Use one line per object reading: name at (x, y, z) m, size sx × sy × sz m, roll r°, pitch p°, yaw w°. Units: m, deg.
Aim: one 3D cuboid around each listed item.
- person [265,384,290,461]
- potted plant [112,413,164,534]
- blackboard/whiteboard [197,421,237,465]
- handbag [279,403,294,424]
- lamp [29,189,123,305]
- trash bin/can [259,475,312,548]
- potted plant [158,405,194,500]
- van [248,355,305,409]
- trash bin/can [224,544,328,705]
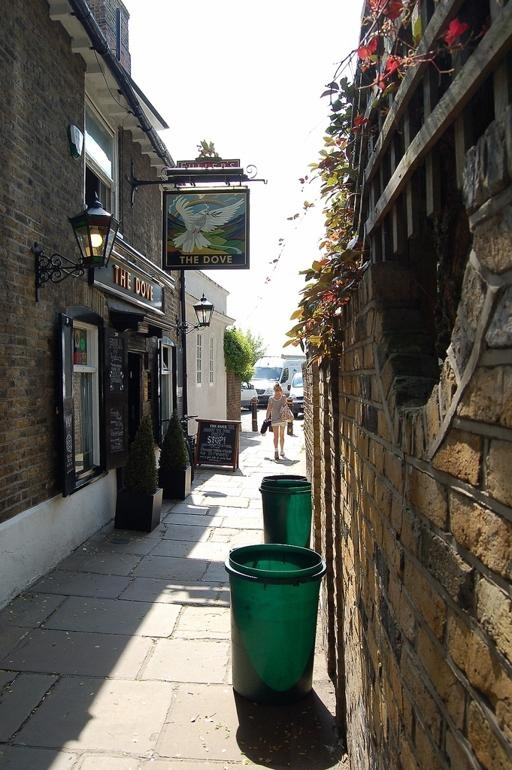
person at (0.522, 0.840, 13.809) m, size 0.572 × 1.730 × 1.664 m, roll 1°, pitch 1°, yaw 1°
potted plant at (-1.379, 1.033, 6.797) m, size 0.522 × 1.361 × 0.371 m, roll 1°, pitch 1°, yaw -18°
blackboard/whiteboard at (-0.764, 1.184, 11.586) m, size 0.558 × 0.868 × 0.314 m, roll 0°, pitch -14°, yaw 5°
handbag at (0.708, 0.668, 13.731) m, size 0.210 × 0.426 × 0.669 m, roll 2°, pitch 0°, yaw 15°
lamp at (-1.592, -1.191, 5.093) m, size 0.606 × 1.052 × 0.406 m, roll -5°, pitch -17°, yaw -14°
trash bin/can at (0.283, 1.221, 5.562) m, size 0.487 × 0.609 × 0.594 m, roll 2°, pitch 1°, yaw 5°
potted plant at (-1.248, 1.075, 8.742) m, size 0.421 × 1.359 × 0.469 m, roll 4°, pitch -12°, yaw -23°
van at (1.063, -0.477, 31.073) m, size 1.596 × 2.499 × 3.661 m, roll -1°, pitch -8°, yaw 15°
trash bin/can at (0.088, 1.206, 3.301) m, size 0.693 × 0.935 × 0.613 m, roll 2°, pitch -5°, yaw 6°
